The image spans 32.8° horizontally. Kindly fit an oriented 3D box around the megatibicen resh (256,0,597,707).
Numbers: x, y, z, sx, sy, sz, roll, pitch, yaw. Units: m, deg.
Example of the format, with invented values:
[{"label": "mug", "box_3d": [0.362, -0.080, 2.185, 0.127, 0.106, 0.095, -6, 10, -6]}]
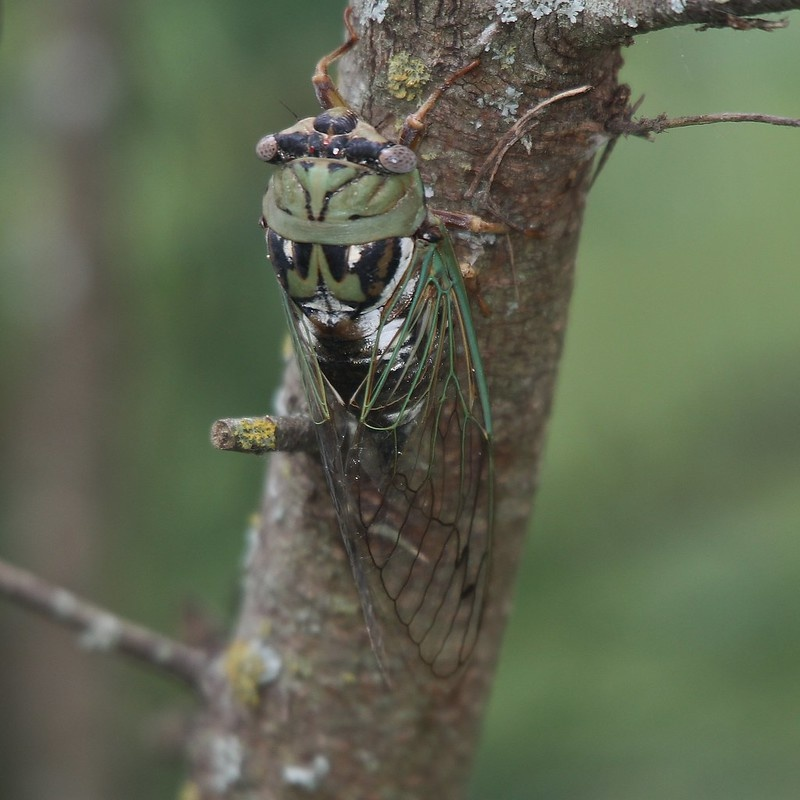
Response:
[{"label": "megatibicen resh", "box_3d": [0.061, -0.080, 1.531, 0.455, 0.623, 0.174, 7, 26, 21]}]
